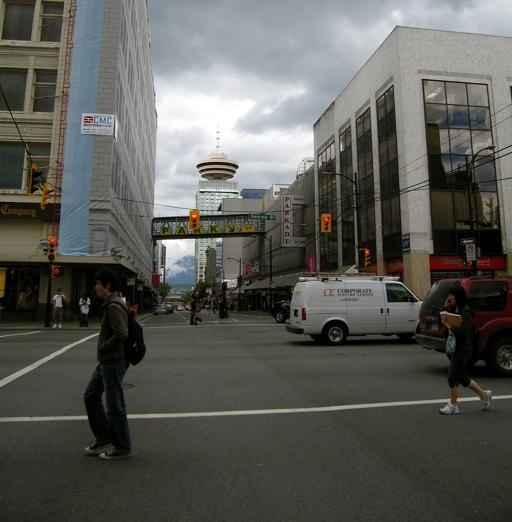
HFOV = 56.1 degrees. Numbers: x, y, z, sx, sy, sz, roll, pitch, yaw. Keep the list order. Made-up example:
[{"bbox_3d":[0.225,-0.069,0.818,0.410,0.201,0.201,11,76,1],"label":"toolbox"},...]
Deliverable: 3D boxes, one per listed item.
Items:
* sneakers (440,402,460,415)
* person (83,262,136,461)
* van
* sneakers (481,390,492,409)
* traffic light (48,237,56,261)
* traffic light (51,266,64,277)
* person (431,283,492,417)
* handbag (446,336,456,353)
[{"bbox_3d":[2.574,2.010,6.495,0.311,0.179,0.135,3,-7,-14],"label":"sneakers"},{"bbox_3d":[-1.455,1.024,4.831,0.541,1.881,0.317,-2,-3,35],"label":"person"},{"bbox_3d":[3.101,1.744,16.120,3.546,2.003,2.254,-2,-1,-10],"label":"van"},{"bbox_3d":[3.195,1.938,6.695,0.117,0.271,0.259,-2,-3,29],"label":"sneakers"},{"bbox_3d":[-9.838,-0.590,23.289,0.305,1.319,1.590,0,-3,-24],"label":"traffic light"},{"bbox_3d":[-9.710,0.502,23.398,0.178,0.639,0.554,9,5,44],"label":"traffic light"},{"bbox_3d":[2.865,1.219,6.639,0.609,1.715,0.829,-2,-3,27],"label":"person"},{"bbox_3d":[2.658,1.155,6.589,0.133,0.243,0.151,-2,-3,33],"label":"handbag"}]
